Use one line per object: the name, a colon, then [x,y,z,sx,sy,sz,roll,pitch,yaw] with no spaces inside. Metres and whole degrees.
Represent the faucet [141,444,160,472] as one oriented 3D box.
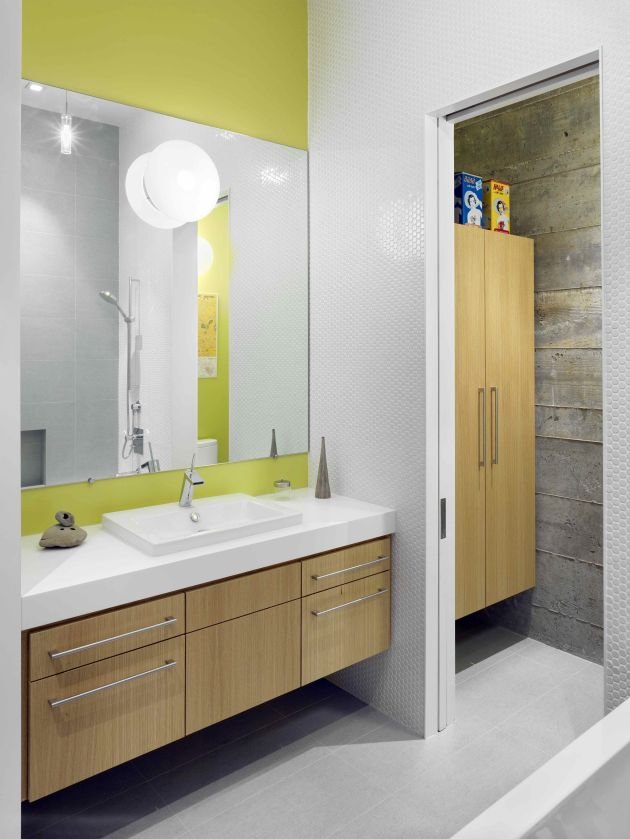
faucet: [-0.550,0.140,2.299,0.044,0.082,0.080,-6,10,-35]
